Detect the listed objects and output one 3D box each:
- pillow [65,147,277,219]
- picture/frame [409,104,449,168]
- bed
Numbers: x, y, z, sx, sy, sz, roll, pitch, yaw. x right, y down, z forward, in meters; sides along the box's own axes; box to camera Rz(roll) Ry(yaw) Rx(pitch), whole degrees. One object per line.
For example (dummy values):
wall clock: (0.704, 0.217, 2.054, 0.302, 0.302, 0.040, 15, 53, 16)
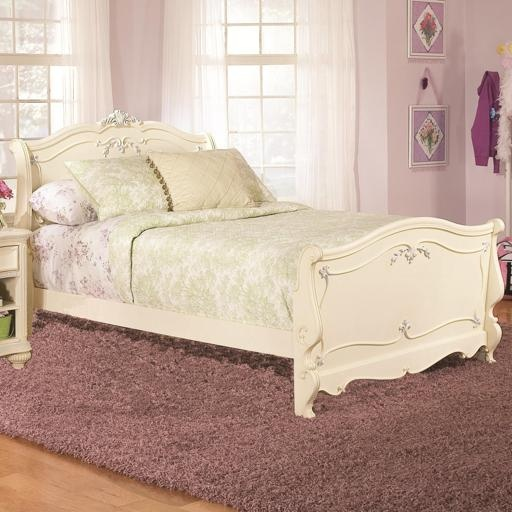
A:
pillow: (-0.448, -0.428, 3.441, 0.873, 0.122, 0.504, -6, 47, -32)
picture/frame: (1.578, -1.100, 5.299, 0.625, 0.584, 0.041, -8, 10, -43)
bed: (-0.040, -0.044, 3.249, 2.237, 1.373, 1.512, 9, 15, 41)
